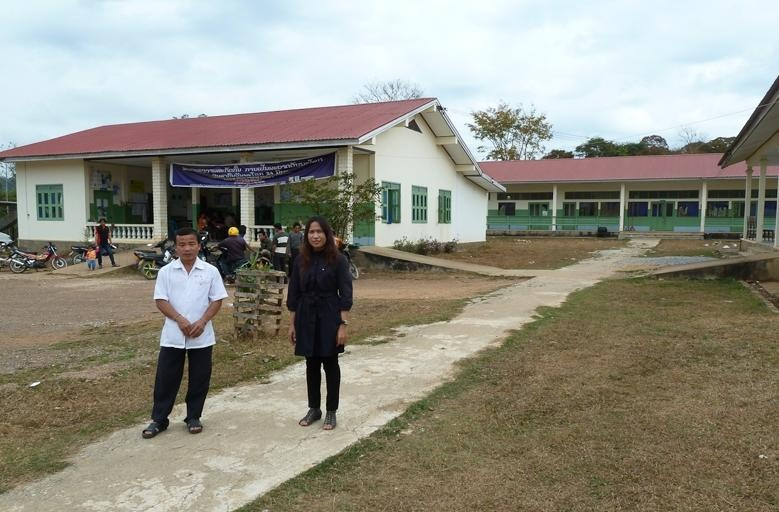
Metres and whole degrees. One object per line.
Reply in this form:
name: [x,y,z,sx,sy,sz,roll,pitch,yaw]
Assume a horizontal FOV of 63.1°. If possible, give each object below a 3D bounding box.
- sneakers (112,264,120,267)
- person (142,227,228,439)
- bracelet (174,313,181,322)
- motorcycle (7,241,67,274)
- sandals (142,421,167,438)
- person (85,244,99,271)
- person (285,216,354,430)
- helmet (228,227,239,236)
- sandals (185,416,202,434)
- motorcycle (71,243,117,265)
sneakers: [-8.532,0.311,19.763,0.232,0.076,0.079,-1,5,8]
person: [-2.197,0.948,6.766,0.922,1.852,0.415,-3,5,-15]
bracelet: [-2.233,0.657,6.671,0.071,0.019,0.065,32,-39,-16]
motorcycle: [-11.662,0.058,20.682,2.102,1.060,1.032,-2,4,-41]
sandals: [-2.472,1.827,6.659,0.123,0.090,0.276,0,-7,14]
person: [-9.122,0.095,19.425,0.293,0.720,0.924,-4,5,-24]
person: [-0.759,0.718,6.865,0.720,2.252,0.413,-2,5,3]
helmet: [-3.947,-0.593,16.022,0.309,0.173,0.355,-3,20,-27]
sandals: [-2.092,1.797,6.733,0.218,0.133,0.148,-1,4,8]
motorcycle: [-9.486,-0.030,20.372,1.189,0.638,0.592,-7,12,-24]
